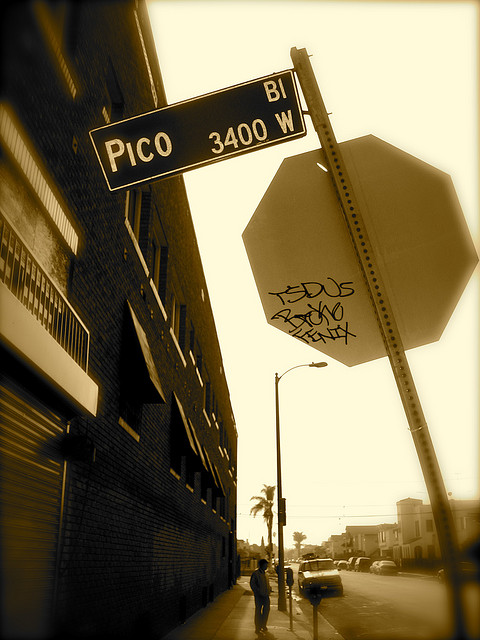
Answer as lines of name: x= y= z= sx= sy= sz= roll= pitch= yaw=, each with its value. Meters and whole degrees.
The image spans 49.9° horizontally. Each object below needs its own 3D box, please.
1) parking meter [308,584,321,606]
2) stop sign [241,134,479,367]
parking meter: x=1.445 y=5.323 z=10.031 sx=0.231 sy=0.374 sz=1.081 roll=-5 pitch=-33 yaw=6
stop sign: x=0.371 y=-0.195 z=1.700 sx=0.721 sy=0.634 sz=0.414 roll=-16 pitch=-29 yaw=22
